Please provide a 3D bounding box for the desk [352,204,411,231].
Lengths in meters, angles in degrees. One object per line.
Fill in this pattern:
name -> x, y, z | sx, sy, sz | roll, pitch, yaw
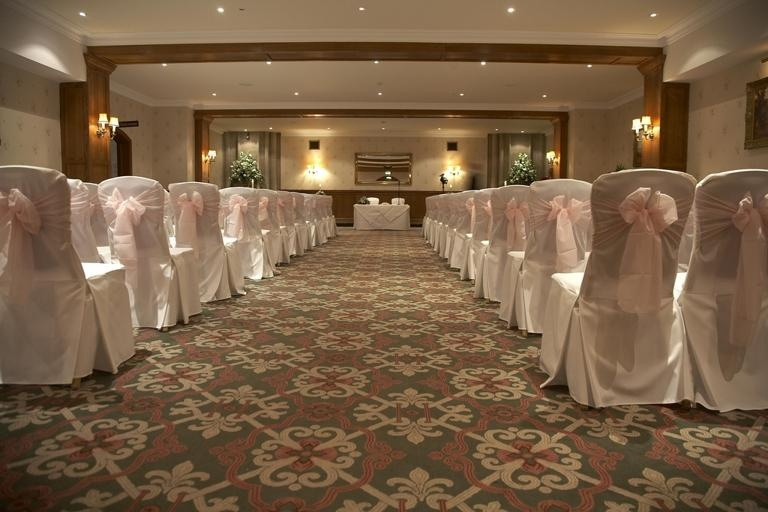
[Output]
desk -> -0.097, -1.236, 14.230 | 1.705, 0.788, 0.327 | 1, 14, 0

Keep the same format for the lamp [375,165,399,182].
lamp -> 0.203, -3.258, 17.827 | 0.676, 0.490, 0.714 | -1, 3, -5

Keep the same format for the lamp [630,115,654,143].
lamp -> 5.189, -2.618, 9.194 | 0.415, 0.480, 0.609 | 2, 15, 7
